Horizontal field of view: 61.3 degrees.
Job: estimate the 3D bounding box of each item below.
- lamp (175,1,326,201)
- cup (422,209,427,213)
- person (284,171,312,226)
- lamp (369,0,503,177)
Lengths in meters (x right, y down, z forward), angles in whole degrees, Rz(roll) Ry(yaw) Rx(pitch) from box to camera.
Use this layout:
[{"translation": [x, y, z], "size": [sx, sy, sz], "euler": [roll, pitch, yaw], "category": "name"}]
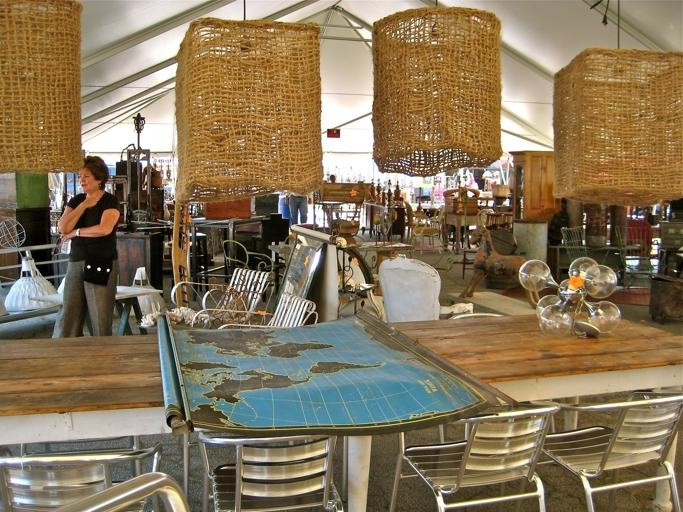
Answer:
[{"translation": [-0.369, -0.558, 2.303], "size": [0.575, 0.697, 0.392], "euler": [-1, 9, -15], "category": "lamp"}, {"translation": [2.397, -1.273, 16.489], "size": [0.093, 0.078, 0.099], "euler": [-1, 18, 0], "category": "cup"}, {"translation": [-0.912, -1.004, 12.187], "size": [0.470, 0.956, 0.293], "euler": [1, 28, -6], "category": "person"}, {"translation": [0.259, -0.691, 2.640], "size": [0.704, 0.658, 0.687], "euler": [-1, 1, -5], "category": "lamp"}]
